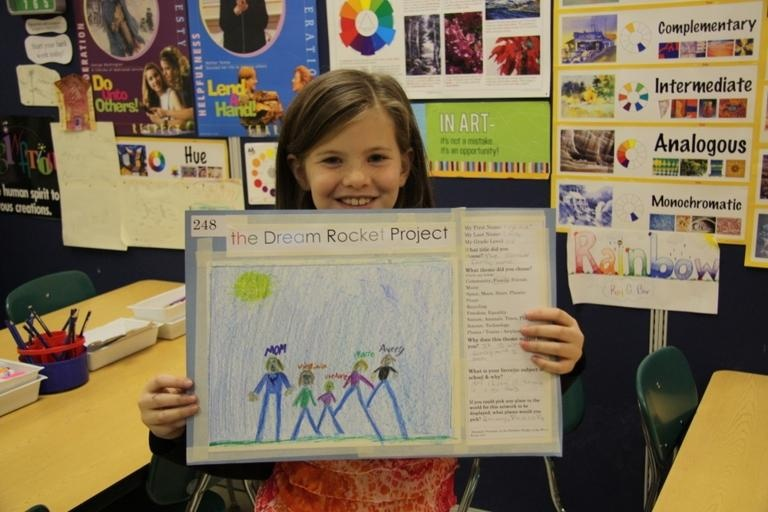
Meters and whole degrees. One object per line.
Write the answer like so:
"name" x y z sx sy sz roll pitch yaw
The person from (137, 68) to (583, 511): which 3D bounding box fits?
"person" -0.058 0.082 1.746 1.156 1.193 0.501 -1 10 -1
